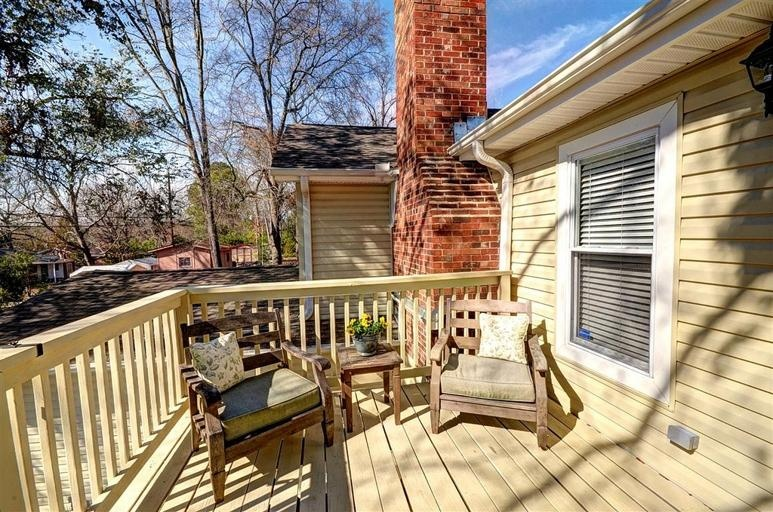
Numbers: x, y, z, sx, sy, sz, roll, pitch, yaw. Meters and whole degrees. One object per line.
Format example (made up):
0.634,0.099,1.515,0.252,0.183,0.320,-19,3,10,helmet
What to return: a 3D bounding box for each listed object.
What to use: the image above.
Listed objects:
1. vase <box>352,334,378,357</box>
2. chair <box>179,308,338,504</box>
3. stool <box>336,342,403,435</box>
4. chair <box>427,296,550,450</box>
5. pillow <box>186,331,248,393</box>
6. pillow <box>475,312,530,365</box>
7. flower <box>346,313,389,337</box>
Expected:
-0.246,1.034,5.871,0.243,0.191,0.254,0,1,13,vase
-1.512,1.434,5.866,1.598,1.791,1.819,-5,7,-34,chair
-0.181,1.522,5.825,0.713,0.871,0.493,-6,6,-8,stool
1.248,1.300,6.128,1.293,1.396,1.579,1,4,13,chair
-1.820,1.149,5.291,0.600,0.316,0.542,-11,53,-45,pillow
1.372,0.990,5.854,0.536,0.534,0.205,0,-25,29,pillow
-0.235,0.831,5.853,0.314,0.187,0.329,-1,-1,14,flower
